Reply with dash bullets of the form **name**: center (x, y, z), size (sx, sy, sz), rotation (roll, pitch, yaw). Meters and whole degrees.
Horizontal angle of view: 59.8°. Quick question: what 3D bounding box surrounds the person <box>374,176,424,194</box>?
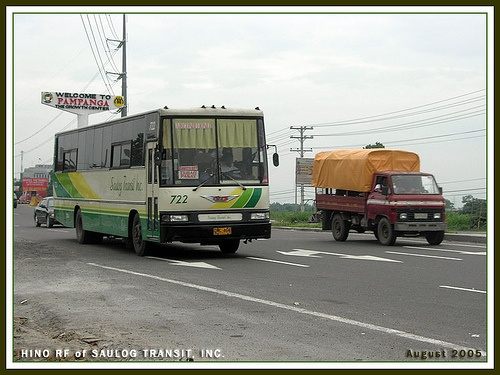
- **person**: center (6.905, -0.094, 18.987), size (1.658, 0.875, 0.412), rotation (1, -1, -15)

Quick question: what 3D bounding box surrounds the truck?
- **truck**: center (6.377, 0.545, 23.032), size (4.334, 5.664, 9.065), rotation (1, -4, -25)

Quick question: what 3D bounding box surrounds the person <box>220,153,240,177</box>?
- **person**: center (-0.732, -0.731, 13.813), size (0.620, 0.917, 0.730), rotation (-2, -4, 15)
